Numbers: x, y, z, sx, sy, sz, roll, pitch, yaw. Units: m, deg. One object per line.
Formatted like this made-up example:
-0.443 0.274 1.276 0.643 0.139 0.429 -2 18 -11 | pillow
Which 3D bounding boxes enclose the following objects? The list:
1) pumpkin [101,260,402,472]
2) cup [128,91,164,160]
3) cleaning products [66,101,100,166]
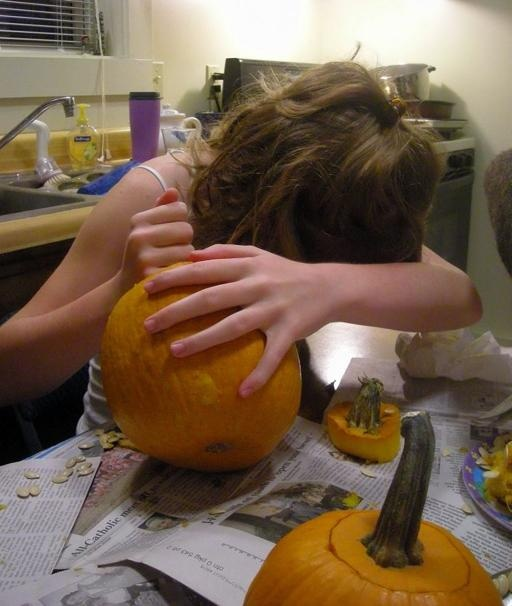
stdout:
-0.016 0.050 0.594 0.273 0.163 0.260 -4 18 -21 | pumpkin
-0.325 -0.532 1.552 0.121 0.200 0.119 4 19 -1 | cup
-0.580 -0.562 1.722 0.121 0.207 0.059 -1 9 1 | cleaning products
